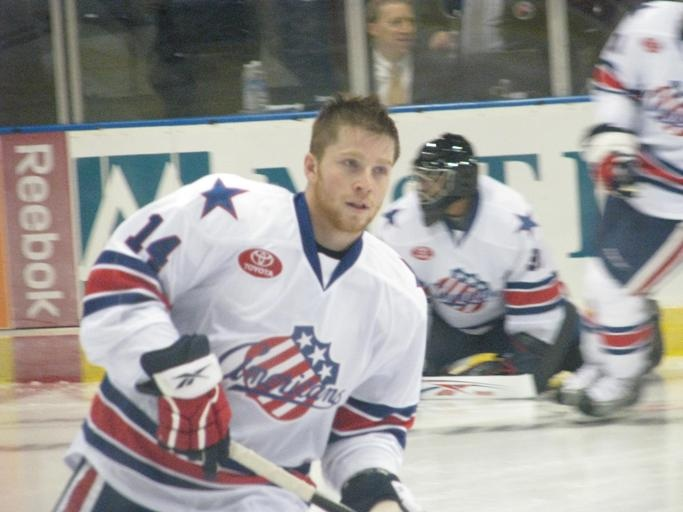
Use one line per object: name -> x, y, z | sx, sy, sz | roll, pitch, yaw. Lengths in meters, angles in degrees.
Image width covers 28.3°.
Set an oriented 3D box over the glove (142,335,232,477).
glove -> -0.662, 0.634, 5.714 | 0.368, 0.625, 0.159 | -6, 15, -9
